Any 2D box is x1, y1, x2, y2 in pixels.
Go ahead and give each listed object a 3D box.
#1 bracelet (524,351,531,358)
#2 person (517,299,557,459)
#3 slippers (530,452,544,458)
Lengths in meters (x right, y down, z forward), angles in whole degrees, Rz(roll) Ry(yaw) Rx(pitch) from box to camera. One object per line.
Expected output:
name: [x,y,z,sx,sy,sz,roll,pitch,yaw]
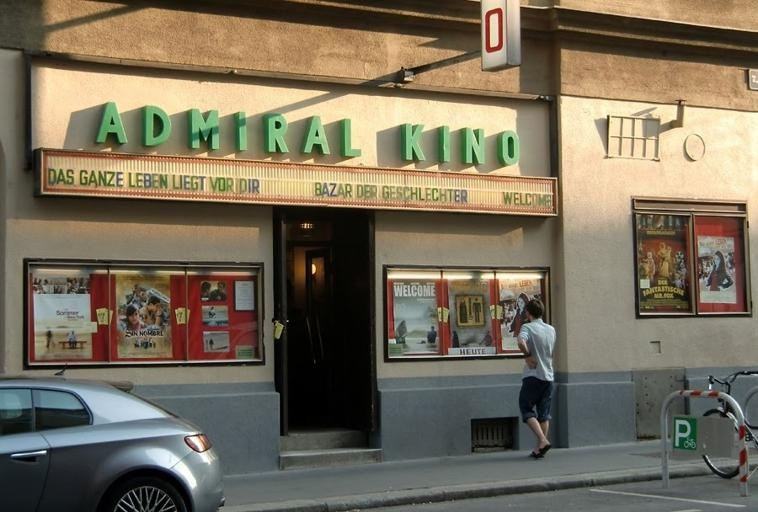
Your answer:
bracelet: [2.488,1.642,15.673,0.115,0.090,0.299,-5,-6,16]
person: [2.632,2.069,15.844,0.805,2.675,0.469,2,-8,-36]
slippers: [2.693,3.375,15.930,0.197,0.077,0.106,4,-1,5]
